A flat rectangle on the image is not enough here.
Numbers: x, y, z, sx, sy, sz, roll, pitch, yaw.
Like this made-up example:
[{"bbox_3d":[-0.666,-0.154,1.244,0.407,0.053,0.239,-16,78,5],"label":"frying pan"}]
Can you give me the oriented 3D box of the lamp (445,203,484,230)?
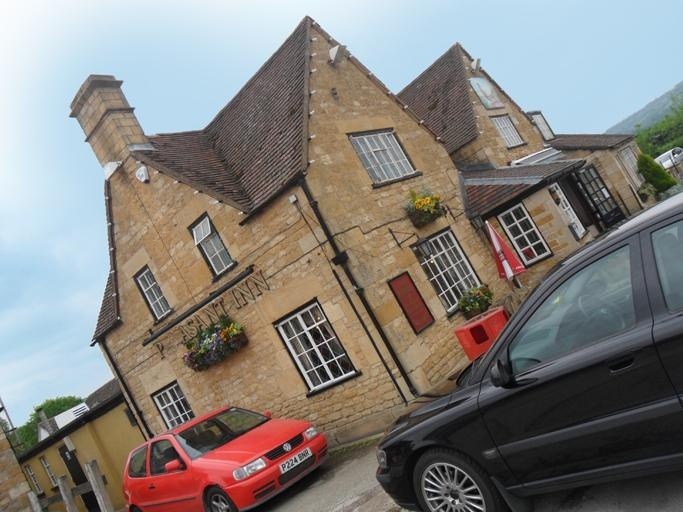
[{"bbox_3d":[3.435,-1.079,14.579,0.658,1.264,0.393,-14,14,3],"label":"lamp"}]
